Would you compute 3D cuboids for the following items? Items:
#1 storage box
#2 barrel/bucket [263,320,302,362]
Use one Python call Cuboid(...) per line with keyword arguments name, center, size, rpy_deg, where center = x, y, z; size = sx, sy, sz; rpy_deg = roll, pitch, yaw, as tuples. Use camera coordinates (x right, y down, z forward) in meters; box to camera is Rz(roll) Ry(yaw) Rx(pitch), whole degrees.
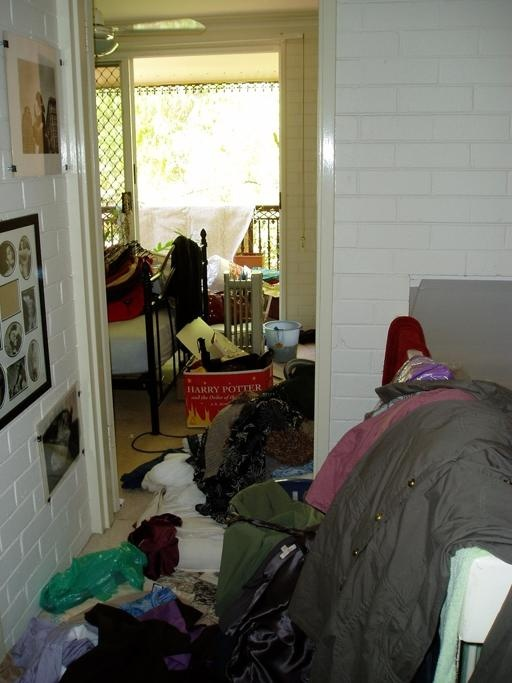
Cuboid(name="storage box", center=(-0.249, 0.244, 3.816), size=(0.658, 0.410, 0.679), rpy_deg=(1, 26, -7))
Cuboid(name="barrel/bucket", center=(0.251, -0.026, 5.090), size=(0.347, 0.286, 0.368), rpy_deg=(1, 21, 0))
